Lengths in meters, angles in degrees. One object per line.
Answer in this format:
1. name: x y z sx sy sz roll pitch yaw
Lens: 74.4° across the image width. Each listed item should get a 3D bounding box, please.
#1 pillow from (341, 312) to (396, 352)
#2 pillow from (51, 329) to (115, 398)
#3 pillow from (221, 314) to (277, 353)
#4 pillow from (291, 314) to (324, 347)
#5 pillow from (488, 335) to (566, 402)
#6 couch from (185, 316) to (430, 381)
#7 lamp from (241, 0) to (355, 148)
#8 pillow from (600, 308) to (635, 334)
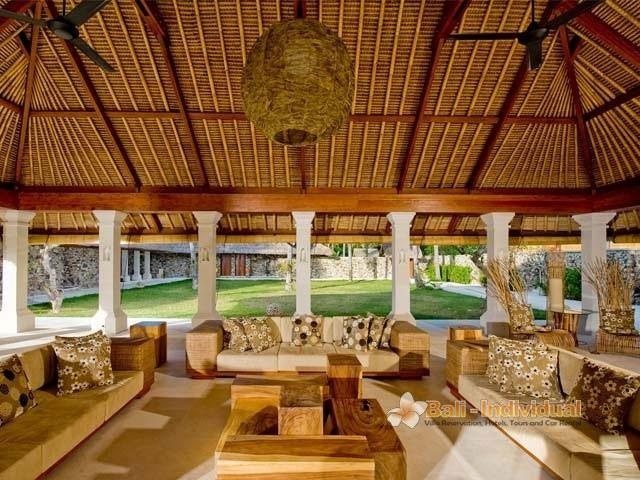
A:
1. pillow: 0.795 1.547 7.162 0.782 0.546 0.192 7 -21 3
2. pillow: -3.297 1.636 5.783 0.873 0.644 0.333 -2 -14 -31
3. pillow: -1.178 1.560 7.014 0.803 0.563 0.205 -1 -19 -21
4. pillow: -0.217 1.540 7.172 0.615 0.434 0.171 3 -12 -1
5. pillow: 2.543 1.598 5.285 0.852 0.639 0.235 -2 -19 27
6. couch: -0.162 1.780 7.055 3.869 0.977 0.871 -1 -5 5
7. lamp: -0.180 -1.459 4.162 1.365 1.048 1.188 -1 -2 13
8. pillow: 5.588 1.498 7.940 0.588 0.438 0.134 4 -5 30
